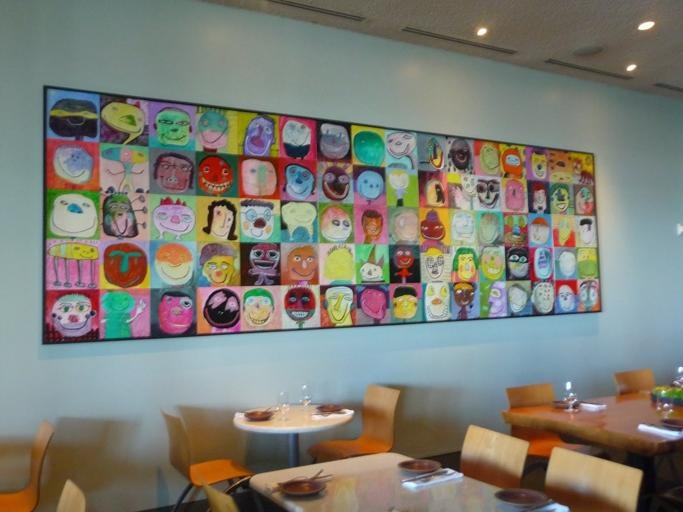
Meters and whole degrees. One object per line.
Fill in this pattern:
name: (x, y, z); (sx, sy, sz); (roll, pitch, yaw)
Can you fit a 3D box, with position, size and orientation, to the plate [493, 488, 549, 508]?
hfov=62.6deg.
plate: (0.981, 1.332, 3.068); (0.272, 0.057, 0.216); (-1, -2, 28)
